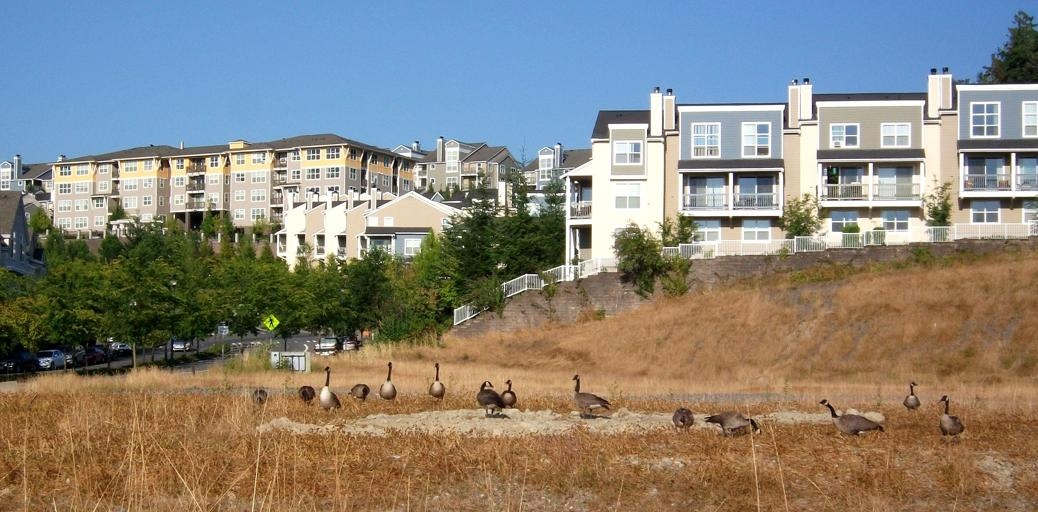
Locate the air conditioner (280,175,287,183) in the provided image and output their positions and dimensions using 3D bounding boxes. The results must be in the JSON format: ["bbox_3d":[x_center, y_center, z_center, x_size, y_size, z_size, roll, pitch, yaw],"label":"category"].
[{"bbox_3d":[-34.133,-11.407,259.676,1.398,1.198,0.592,0,4,43],"label":"air conditioner"}]
